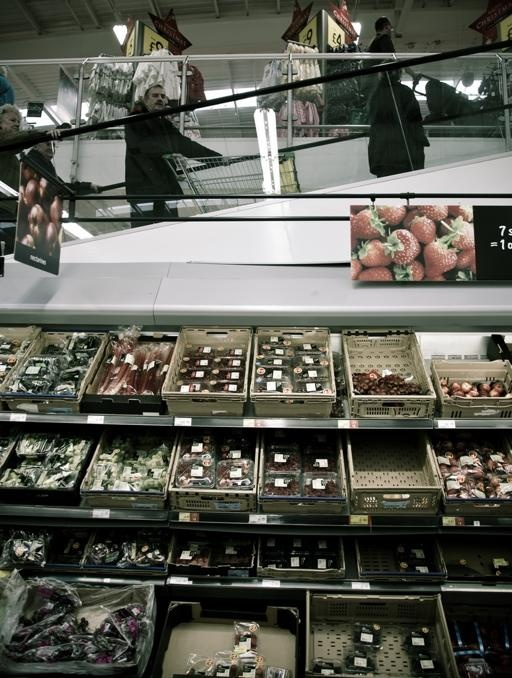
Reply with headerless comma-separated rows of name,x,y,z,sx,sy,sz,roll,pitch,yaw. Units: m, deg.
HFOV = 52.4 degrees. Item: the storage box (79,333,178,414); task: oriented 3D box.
storage box,-0.709,0.179,2.929,0.368,0.480,0.145,2,-49,4
